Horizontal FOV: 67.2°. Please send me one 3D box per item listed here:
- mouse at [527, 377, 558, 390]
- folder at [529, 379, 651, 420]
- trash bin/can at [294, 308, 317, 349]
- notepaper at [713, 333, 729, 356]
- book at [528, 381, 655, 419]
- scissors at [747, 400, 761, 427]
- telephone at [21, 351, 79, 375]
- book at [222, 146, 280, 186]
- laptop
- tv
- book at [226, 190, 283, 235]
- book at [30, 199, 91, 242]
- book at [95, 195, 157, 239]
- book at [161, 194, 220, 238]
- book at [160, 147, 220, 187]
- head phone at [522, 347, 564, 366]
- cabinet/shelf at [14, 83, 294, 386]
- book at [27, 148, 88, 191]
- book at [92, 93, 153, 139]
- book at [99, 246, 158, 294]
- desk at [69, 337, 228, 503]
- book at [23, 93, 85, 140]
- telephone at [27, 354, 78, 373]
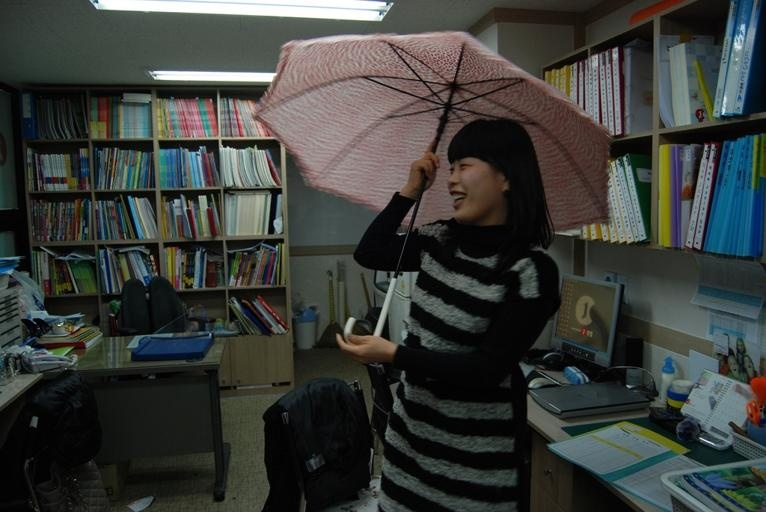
[{"bbox_3d":[0.919,0.742,3.337,0.128,0.044,0.135,1,5,-15],"label":"mouse"},{"bbox_3d":[1.129,0.785,3.150,0.346,0.048,0.259,-2,8,-14],"label":"folder"},{"bbox_3d":[-0.886,0.860,6.860,0.387,0.517,0.400,1,-1,-9],"label":"trash bin/can"},{"bbox_3d":[1.802,0.467,3.049,0.019,0.142,0.123,3,-4,-27],"label":"notepaper"},{"bbox_3d":[1.139,0.800,3.147,0.372,0.051,0.279,-2,6,-15],"label":"book"},{"bbox_3d":[1.766,0.738,2.716,0.056,0.109,0.065,-1,7,-3],"label":"scissors"},{"bbox_3d":[-2.156,0.670,3.676,0.269,0.099,0.197,2,-2,-31],"label":"telephone"},{"bbox_3d":[-1.289,-0.821,5.470,0.351,0.161,0.456,2,-7,-3],"label":"book"},{"bbox_3d":[1.119,0.783,3.151,0.342,0.048,0.255,-2,9,-14],"label":"laptop"},{"bbox_3d":[1.255,0.426,3.470,0.067,0.577,0.583,10,5,-28],"label":"tv"},{"bbox_3d":[-1.236,-0.407,5.458,0.673,0.525,0.376,0,2,-8],"label":"book"},{"bbox_3d":[-3.023,-0.327,5.308,0.382,0.361,0.159,0,-1,-8],"label":"book"},{"bbox_3d":[-2.423,-0.359,5.371,0.538,0.407,0.140,-1,6,2],"label":"book"},{"bbox_3d":[-1.837,-0.365,5.387,0.514,0.414,0.151,0,6,10],"label":"book"},{"bbox_3d":[-1.843,-0.823,5.375,0.521,0.372,0.104,-1,6,-1],"label":"book"},{"bbox_3d":[1.029,0.650,3.665,0.201,0.073,0.154,-5,10,-5],"label":"head phone"},{"bbox_3d":[-2.080,-0.234,5.020,2.813,3.359,0.770,0,0,-8],"label":"cabinet/shelf"},{"bbox_3d":[-3.037,-0.783,5.292,0.402,0.384,0.199,0,-1,-10],"label":"book"},{"bbox_3d":[-2.458,-1.282,5.308,0.543,0.404,0.158,-2,6,-9],"label":"book"},{"bbox_3d":[-2.418,0.126,5.402,0.509,0.433,0.189,-4,7,-21],"label":"book"},{"bbox_3d":[-1.597,1.068,4.084,1.033,0.758,1.000,1,9,16],"label":"desk"},{"bbox_3d":[-3.026,-1.271,5.194,0.384,0.527,0.160,4,-3,1],"label":"book"},{"bbox_3d":[-2.127,0.649,3.662,0.241,0.088,0.157,1,-2,-35],"label":"telephone"}]
